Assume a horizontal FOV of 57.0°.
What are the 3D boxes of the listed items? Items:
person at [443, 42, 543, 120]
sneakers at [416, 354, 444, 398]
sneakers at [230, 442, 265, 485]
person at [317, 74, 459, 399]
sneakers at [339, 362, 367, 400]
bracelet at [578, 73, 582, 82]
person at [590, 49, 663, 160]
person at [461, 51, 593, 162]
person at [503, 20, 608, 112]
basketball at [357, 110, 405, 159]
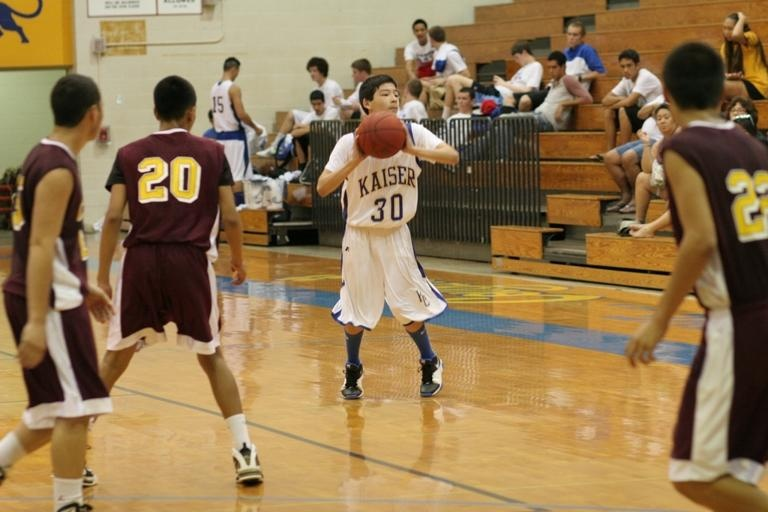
[{"bbox_3d":[1.765,-2.893,11.638,1.730,1.100,0.821,-9,17,-4],"label":"person"},{"bbox_3d":[0.341,0.895,5.281,0.115,0.152,0.342,-7,23,12],"label":"sneakers"},{"bbox_3d":[-0.746,1.117,3.839,0.157,0.227,0.123,-1,9,2],"label":"sneakers"},{"bbox_3d":[0.000,-0.138,5.152,0.951,2.340,0.533,-2,9,-9],"label":"person"},{"bbox_3d":[-0.234,0.930,5.166,0.113,0.131,0.305,-1,12,4],"label":"sneakers"},{"bbox_3d":[3.033,-2.758,10.868,0.083,0.118,0.039,1,1,15],"label":"bracelet"},{"bbox_3d":[3.452,-2.117,9.929,0.885,1.471,0.610,0,5,-24],"label":"person"},{"bbox_3d":[2.080,-2.577,10.634,1.984,1.094,1.018,0,11,-25],"label":"person"},{"bbox_3d":[2.689,-2.845,11.122,1.351,1.714,0.811,-3,2,-10],"label":"person"},{"bbox_3d":[-0.025,-0.810,4.792,0.303,0.304,0.310,-4,7,-39],"label":"basketball"}]
